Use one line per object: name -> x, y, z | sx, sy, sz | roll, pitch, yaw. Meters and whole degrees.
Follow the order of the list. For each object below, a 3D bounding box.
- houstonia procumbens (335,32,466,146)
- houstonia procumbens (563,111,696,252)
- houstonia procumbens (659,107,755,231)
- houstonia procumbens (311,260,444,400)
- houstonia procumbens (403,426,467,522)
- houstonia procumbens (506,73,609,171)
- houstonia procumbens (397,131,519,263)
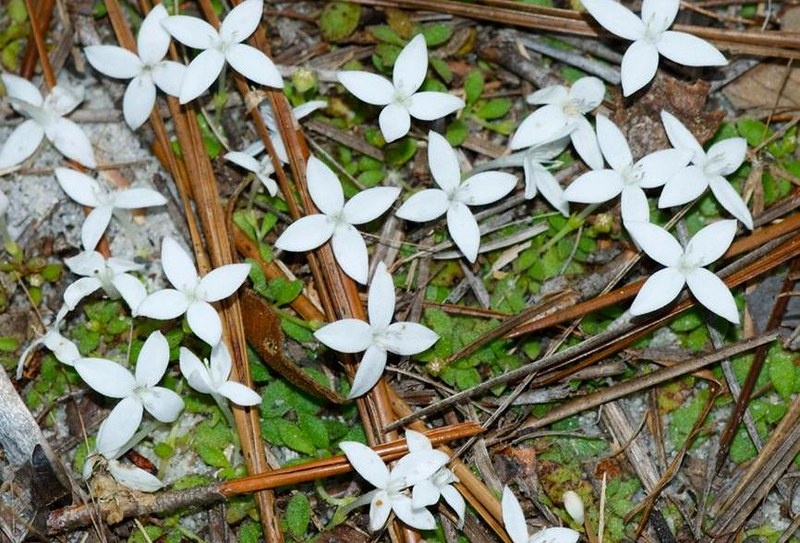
houstonia procumbens -> -0.001, -0.798, 3.576 | 0.463, 0.517, 0.142 | 22, 2, -10
houstonia procumbens -> 0.994, -0.432, 3.653 | 0.473, 0.568, 0.189 | -18, -6, 4
houstonia procumbens -> 1.360, -0.450, 3.676 | 0.450, 0.527, 0.117 | 31, -17, -16
houstonia procumbens -> -0.108, 0.252, 3.548 | 0.534, 0.600, 0.120 | 1, 6, -11
houstonia procumbens -> 0.131, 0.855, 3.491 | 0.244, 0.402, 0.075 | -6, -12, -44
houstonia procumbens -> 0.725, -0.681, 3.697 | 0.423, 0.389, 0.130 | 49, 5, 11
houstonia procumbens -> 0.247, -0.347, 3.690 | 0.451, 0.133, 0.516 | -13, -42, 34
